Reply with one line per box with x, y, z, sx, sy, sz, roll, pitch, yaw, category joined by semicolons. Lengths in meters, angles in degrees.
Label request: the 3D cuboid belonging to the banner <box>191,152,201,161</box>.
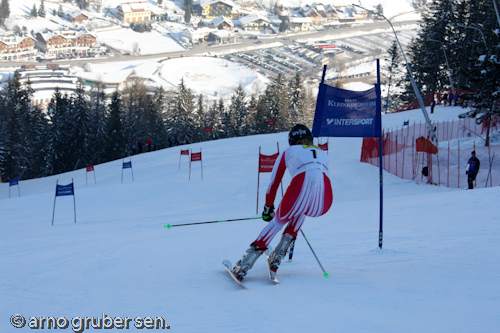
-6.009;-1.108;86.729;1.079;0.805;0.054;-4;-26;-4;banner

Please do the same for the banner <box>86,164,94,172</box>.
-18.495;0.197;90.106;0.034;0.647;0.776;-8;8;39;banner

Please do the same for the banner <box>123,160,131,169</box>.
-13.920;-0.218;88.288;1.042;1.060;0.053;-5;-39;1;banner

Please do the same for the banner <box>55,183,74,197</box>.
-18.920;2.405;79.772;1.731;1.271;0.127;0;-36;-3;banner

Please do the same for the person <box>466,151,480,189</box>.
22.319;0.328;78.385;1.061;3.708;0.639;-2;5;-27;person

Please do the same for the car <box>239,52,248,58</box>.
-1.715;-27.520;194.302;1.914;1.427;4.920;0;4;4;car

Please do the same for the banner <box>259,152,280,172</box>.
1.862;-0.408;77.785;2.207;2.390;0.125;0;-3;-12;banner

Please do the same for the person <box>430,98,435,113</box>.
22.657;-7.481;96.967;0.406;1.688;1.119;1;4;15;person
